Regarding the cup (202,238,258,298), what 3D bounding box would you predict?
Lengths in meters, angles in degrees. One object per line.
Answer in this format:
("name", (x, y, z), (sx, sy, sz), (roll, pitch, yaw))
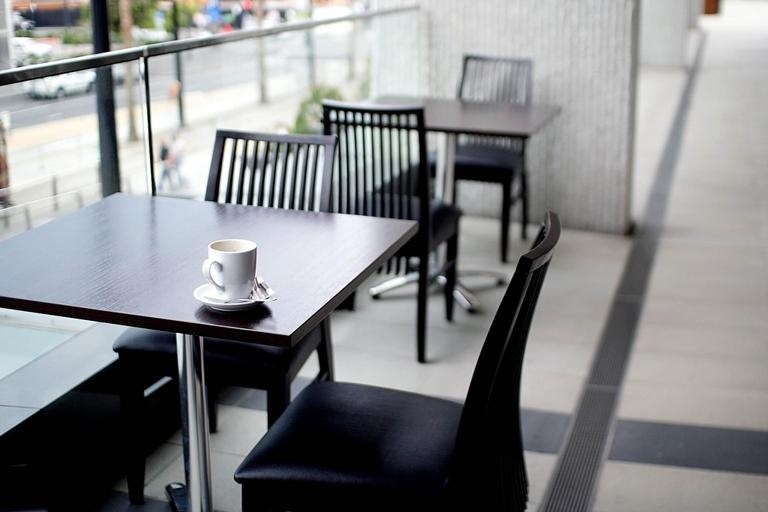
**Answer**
("cup", (-0.340, 0.041, 1.301), (0.094, 0.113, 0.151), (8, 16, 12))
